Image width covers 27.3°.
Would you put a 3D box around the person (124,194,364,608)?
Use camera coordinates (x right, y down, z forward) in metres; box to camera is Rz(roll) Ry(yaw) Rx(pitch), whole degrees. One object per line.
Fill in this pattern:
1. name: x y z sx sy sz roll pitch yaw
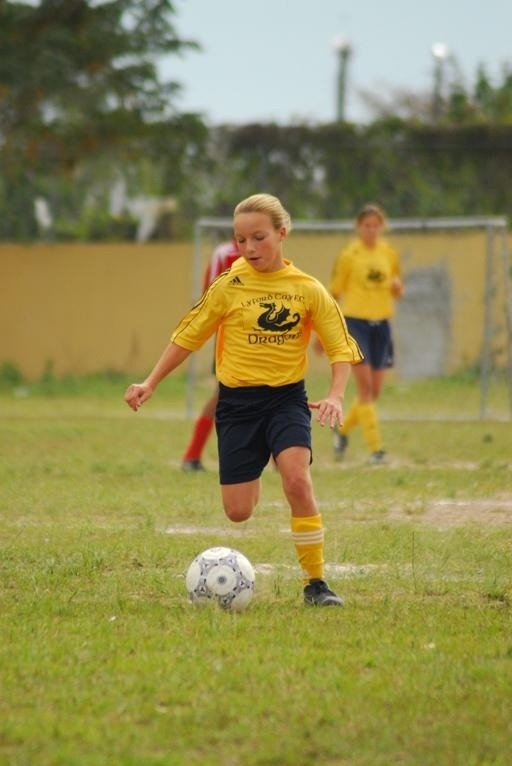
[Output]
1. person: 0.001 0.042 3.736 0.703 1.408 0.451 2 3 14

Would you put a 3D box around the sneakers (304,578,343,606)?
1. sneakers: 0.233 0.720 3.631 0.130 0.068 0.143 1 2 1

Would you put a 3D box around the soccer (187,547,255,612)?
1. soccer: -0.115 0.674 3.626 0.208 0.179 0.190 3 3 34
